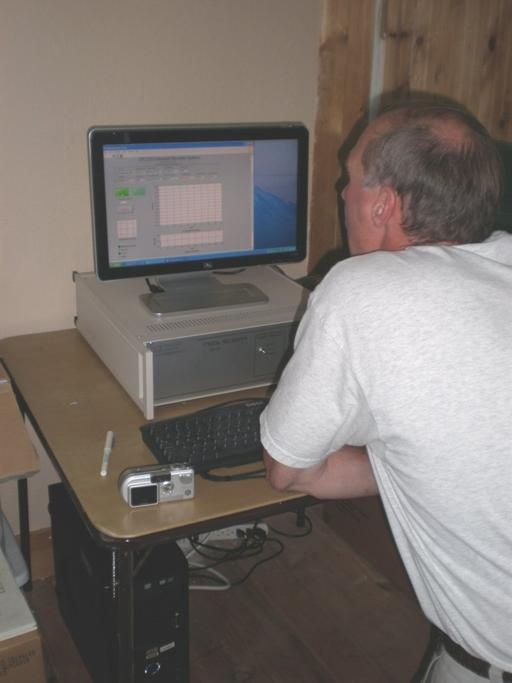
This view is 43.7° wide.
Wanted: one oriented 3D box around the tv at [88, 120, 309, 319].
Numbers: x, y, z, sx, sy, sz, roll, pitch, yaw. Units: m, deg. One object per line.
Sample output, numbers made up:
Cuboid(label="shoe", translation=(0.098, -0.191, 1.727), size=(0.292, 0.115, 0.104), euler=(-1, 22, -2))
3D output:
Cuboid(label="tv", translation=(-0.134, -0.286, 1.490), size=(0.534, 0.332, 0.133), euler=(-10, 30, -24))
